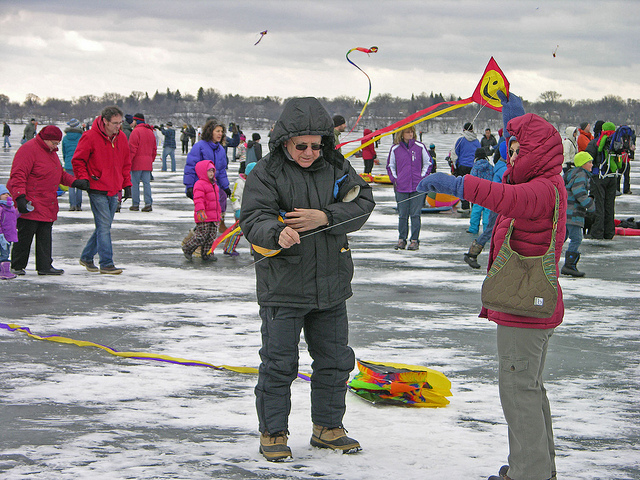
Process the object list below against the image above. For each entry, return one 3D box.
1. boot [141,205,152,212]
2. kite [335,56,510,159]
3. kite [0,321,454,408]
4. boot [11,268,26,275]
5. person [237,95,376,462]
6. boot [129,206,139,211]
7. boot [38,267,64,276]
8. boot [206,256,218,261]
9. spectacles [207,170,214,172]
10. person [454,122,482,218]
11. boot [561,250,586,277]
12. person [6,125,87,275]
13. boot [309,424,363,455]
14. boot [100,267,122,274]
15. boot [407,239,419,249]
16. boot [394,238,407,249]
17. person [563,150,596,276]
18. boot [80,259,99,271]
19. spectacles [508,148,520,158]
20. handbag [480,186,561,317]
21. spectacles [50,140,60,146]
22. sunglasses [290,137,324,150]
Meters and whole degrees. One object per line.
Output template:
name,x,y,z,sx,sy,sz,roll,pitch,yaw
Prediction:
boot,-3.355,-0.635,22.238,0.246,0.151,0.089,14,18,33
kite,1.041,-1.250,11.323,1.707,0.494,0.398,-19,3,24
kite,-0.893,1.227,10.774,2.344,0.226,0.330,13,-35,-8
boot,-3.929,0.421,14.954,0.207,0.076,0.066,0,5,-11
person,-0.078,0.308,9.585,1.074,2.977,1.007,-3,16,-16
boot,-3.599,-0.629,22.385,0.166,0.098,0.072,5,3,7
boot,-3.507,0.416,15.007,0.335,0.128,0.113,-2,0,-3
boot,-1.530,0.265,16.465,0.143,0.046,0.062,-8,2,27
spectacles,-1.520,-1.002,16.211,0.079,0.029,0.019,-2,15,-14
person,2.918,-1.473,22.079,0.665,1.656,0.592,-2,10,-4
boot,3.507,0.320,15.463,0.338,0.347,0.279,6,15,15
person,-3.613,-0.521,14.838,0.812,1.974,0.524,-9,19,-36
boot,0.145,1.708,9.609,0.483,0.271,0.189,1,5,9
boot,-2.736,0.408,15.113,0.292,0.106,0.103,-1,3,11
boot,1.497,0.067,17.527,0.167,0.169,0.467,0,-1,15
boot,1.306,0.040,17.653,0.182,0.190,0.401,3,14,3
person,3.632,-0.403,15.782,0.420,1.572,1.301,5,15,12
boot,-3.058,0.359,15.364,0.290,0.114,0.102,25,23,-5
spectacles,1.652,-0.740,9.487,0.095,0.108,0.060,-1,-9,11
handbag,1.669,0.090,9.135,0.618,1.003,0.445,3,15,4
spectacles,-3.422,-1.287,14.876,0.090,0.081,0.026,0,-5,19
sunglasses,-0.029,-0.810,9.560,0.339,0.079,0.142,-11,18,-41
